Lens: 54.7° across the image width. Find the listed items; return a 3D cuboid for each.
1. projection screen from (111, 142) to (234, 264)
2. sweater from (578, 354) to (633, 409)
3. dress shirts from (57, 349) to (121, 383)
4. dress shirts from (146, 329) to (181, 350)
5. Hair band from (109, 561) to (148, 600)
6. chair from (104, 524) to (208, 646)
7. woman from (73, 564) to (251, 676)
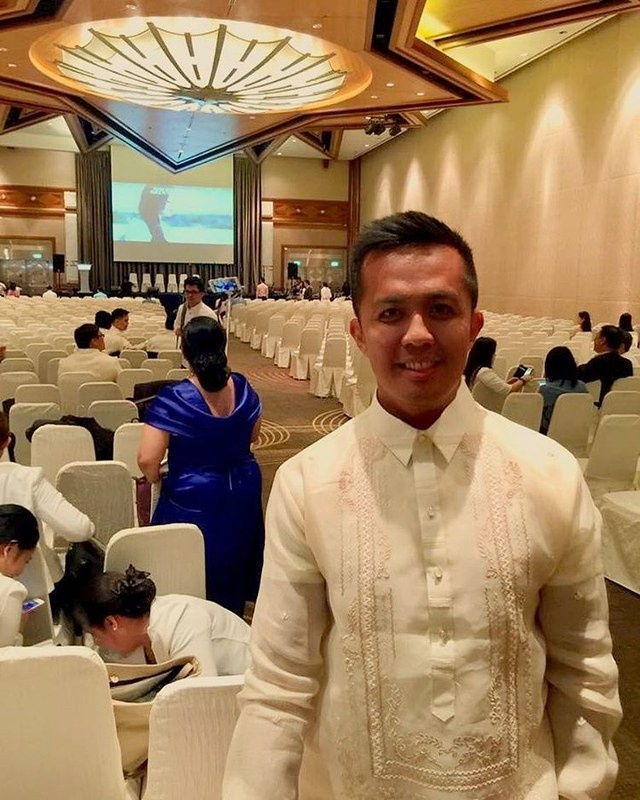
[{"bbox_3d":[-6.498,-8.399,26.173,5.547,4.730,0.241,-1,11,-8],"label":"projection screen"},{"bbox_3d":[2.436,-0.154,5.193,0.465,0.521,0.292,-1,28,1],"label":"sweater"},{"bbox_3d":[-2.081,-0.312,5.576,0.579,0.417,0.290,0,20,-8],"label":"dress shirts"},{"bbox_3d":[-2.003,-0.727,7.862,0.407,0.183,0.525,-2,10,-5],"label":"dress shirts"},{"bbox_3d":[-0.562,0.536,1.829,0.107,0.100,0.161,-15,1,-20],"label":"Hair band"},{"bbox_3d":[-0.499,0.572,2.028,0.271,0.354,0.316,0,5,-18],"label":"chair"},{"bbox_3d":[-0.369,0.613,1.852,0.596,0.274,0.440,11,-2,-26],"label":"woman"}]
